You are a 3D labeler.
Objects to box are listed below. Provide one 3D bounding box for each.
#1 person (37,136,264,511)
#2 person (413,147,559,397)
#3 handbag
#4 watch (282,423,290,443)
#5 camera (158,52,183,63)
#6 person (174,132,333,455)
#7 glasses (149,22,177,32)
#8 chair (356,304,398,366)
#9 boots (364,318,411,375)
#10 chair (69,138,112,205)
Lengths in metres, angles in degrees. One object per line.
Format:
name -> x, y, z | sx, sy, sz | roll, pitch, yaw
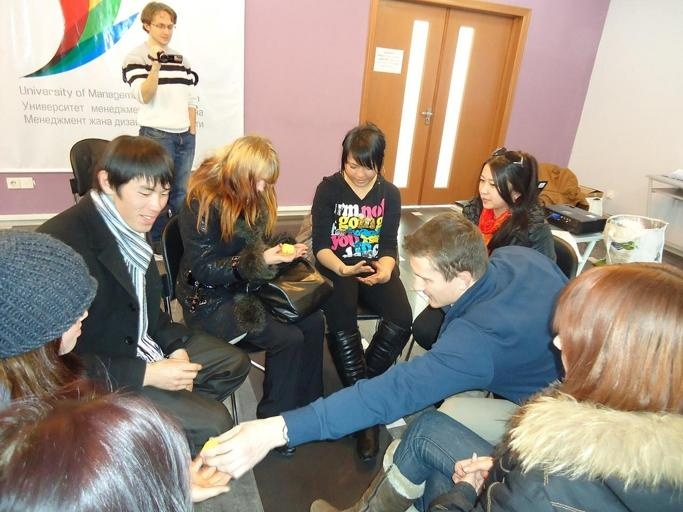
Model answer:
person -> -0.766, 0.305, 1.917 | 0.824, 1.469, 0.600 | 15, 19, 10
person -> 0.868, -0.092, 2.843 | 0.645, 0.967, 0.693 | 17, 42, 38
handbag -> -0.228, 0.151, 2.215 | 0.259, 0.198, 0.278 | 36, 43, 11
watch -> -0.177, 0.560, 1.515 | 0.032, 0.048, 0.014 | 6, 5, 28
camera -> -1.323, -1.517, 3.656 | 0.108, 0.080, 0.207 | 13, 21, 23
person -> -0.429, 0.138, 2.370 | 0.727, 1.415, 0.572 | 9, 18, 22
glasses -> -1.358, -1.721, 3.592 | 0.157, 0.066, 0.082 | -5, 21, -27
chair -> 0.166, 0.371, 2.686 | 0.227, 0.294, 0.306 | -3, 31, -7
boots -> 0.238, 0.517, 2.656 | 0.152, 0.338, 0.476 | 29, 0, 16
chair -> -1.531, -0.451, 3.002 | 0.274, 0.455, 0.297 | -6, 31, -29
